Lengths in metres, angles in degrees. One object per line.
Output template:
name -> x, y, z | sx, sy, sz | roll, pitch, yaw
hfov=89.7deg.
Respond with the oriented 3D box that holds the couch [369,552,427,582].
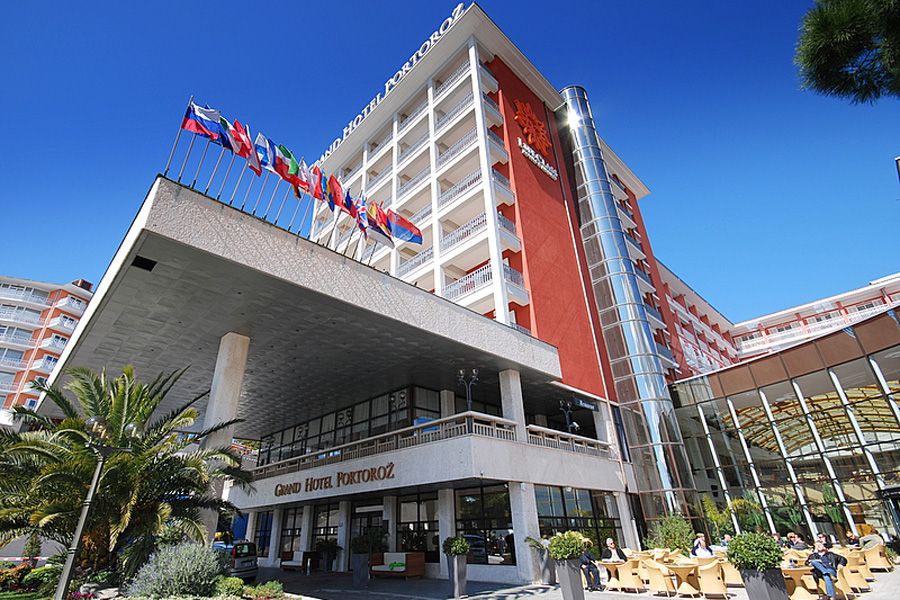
couch -> -2.859, 14.420, 24.680 | 2.505, 1.238, 1.232 | -17, -33, 24
